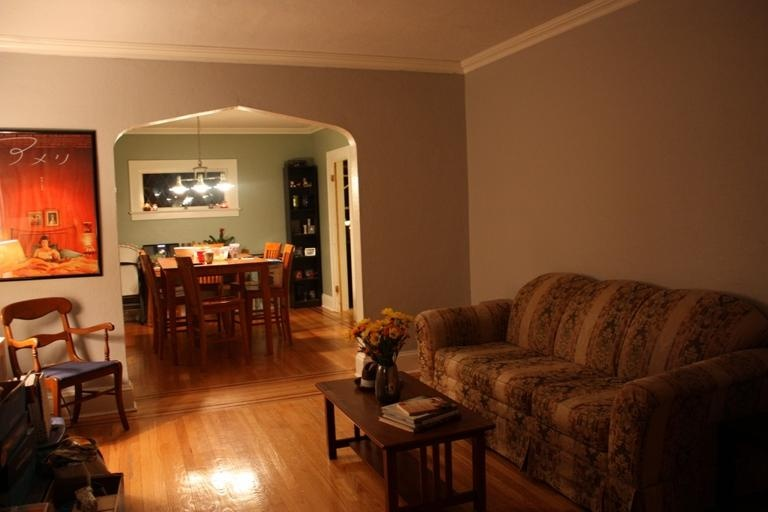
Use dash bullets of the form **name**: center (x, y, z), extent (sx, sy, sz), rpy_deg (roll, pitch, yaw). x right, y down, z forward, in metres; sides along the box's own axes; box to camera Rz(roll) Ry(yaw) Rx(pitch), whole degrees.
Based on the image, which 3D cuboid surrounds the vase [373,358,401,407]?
- **vase**: center (0.019, 0.855, 3.739), extent (0.254, 0.356, 0.239), rpy_deg (-1, -8, 3)

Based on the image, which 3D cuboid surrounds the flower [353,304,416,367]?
- **flower**: center (-0.050, 0.590, 3.895), extent (0.393, 0.382, 0.380), rpy_deg (-23, 13, -28)

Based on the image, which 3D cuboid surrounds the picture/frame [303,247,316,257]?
- **picture/frame**: center (-1.298, -0.066, 9.737), extent (0.171, 0.159, 0.041), rpy_deg (0, -6, -3)

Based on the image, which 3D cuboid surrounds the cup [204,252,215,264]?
- **cup**: center (-2.091, 0.023, 6.653), extent (0.123, 0.126, 0.120), rpy_deg (0, -3, 0)

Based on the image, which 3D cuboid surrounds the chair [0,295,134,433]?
- **chair**: center (-2.700, 0.940, 4.737), extent (0.803, 1.144, 0.901), rpy_deg (-10, 12, -28)

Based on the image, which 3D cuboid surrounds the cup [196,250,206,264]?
- **cup**: center (-2.224, 0.011, 6.761), extent (0.150, 0.160, 0.150), rpy_deg (0, 6, 0)

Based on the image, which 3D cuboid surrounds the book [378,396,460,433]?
- **book**: center (0.222, 0.973, 3.504), extent (0.511, 0.110, 0.298), rpy_deg (-4, 10, -1)

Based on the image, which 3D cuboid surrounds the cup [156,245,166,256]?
- **cup**: center (-3.665, -0.086, 9.141), extent (0.120, 0.219, 0.123), rpy_deg (-6, -29, -3)

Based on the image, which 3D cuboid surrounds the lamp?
- **lamp**: center (-3.102, -1.633, 9.346), extent (0.757, 1.014, 0.757), rpy_deg (-3, 2, 18)
